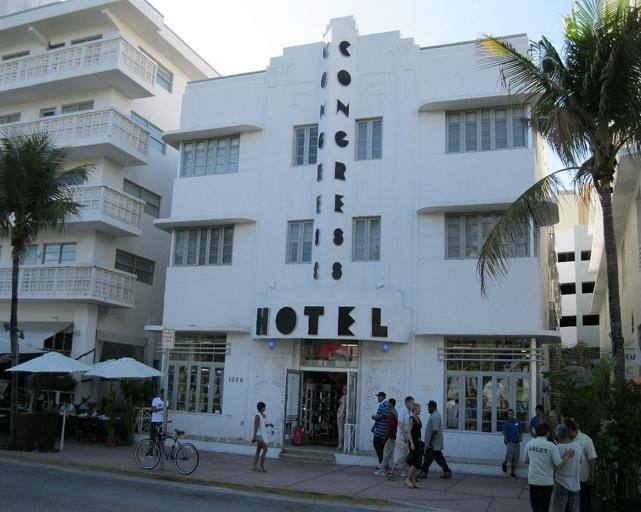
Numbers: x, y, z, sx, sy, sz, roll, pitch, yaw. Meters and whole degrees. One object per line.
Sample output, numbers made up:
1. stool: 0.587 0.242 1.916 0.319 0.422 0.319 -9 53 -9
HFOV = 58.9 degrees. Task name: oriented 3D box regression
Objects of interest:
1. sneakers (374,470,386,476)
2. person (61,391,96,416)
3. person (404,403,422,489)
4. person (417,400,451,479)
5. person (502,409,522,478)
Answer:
1. sneakers: 1.838 6.620 17.468 0.340 0.229 0.125 -4 -15 28
2. person: -10.413 6.288 24.304 1.523 1.035 1.443 8 -9 -41
3. person: 2.644 5.256 15.953 0.459 2.194 1.447 -1 -13 10
4. person: 3.429 5.503 17.139 0.800 2.269 1.250 -2 -13 15
5. person: 6.057 5.889 18.004 0.635 2.050 1.079 -3 -13 17
